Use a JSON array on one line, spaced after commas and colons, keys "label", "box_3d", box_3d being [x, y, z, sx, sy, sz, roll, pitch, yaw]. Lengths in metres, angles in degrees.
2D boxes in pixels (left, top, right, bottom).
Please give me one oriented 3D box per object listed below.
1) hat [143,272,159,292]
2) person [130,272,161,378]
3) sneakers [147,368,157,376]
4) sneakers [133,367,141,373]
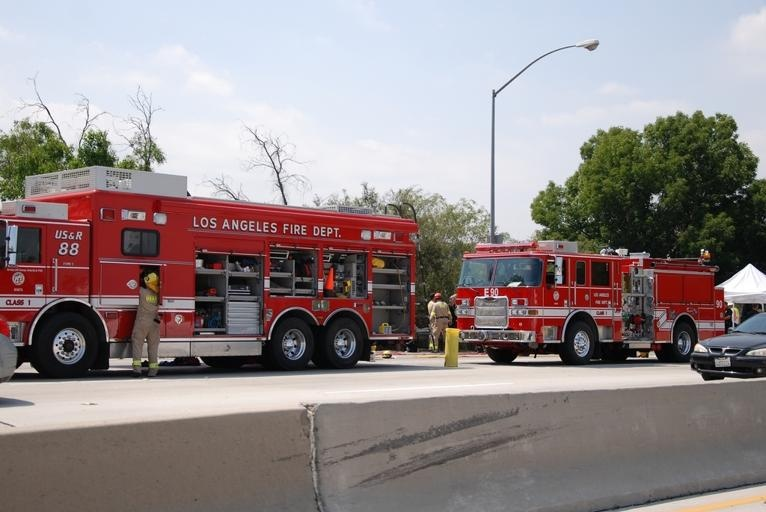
[{"label": "hat", "box_3d": [-5.370, 0.633, 16.977, 0.309, 0.433, 0.431, 2, -22, -4]}, {"label": "person", "box_3d": [-5.438, 1.564, 16.637, 0.593, 2.439, 0.464, 2, -3, -18]}, {"label": "sneakers", "box_3d": [-5.386, 2.720, 16.878, 0.223, 0.216, 0.226, 2, -9, -17]}, {"label": "sneakers", "box_3d": [-5.670, 2.641, 16.694, 0.173, 0.126, 0.104, 3, -23, -10]}]
